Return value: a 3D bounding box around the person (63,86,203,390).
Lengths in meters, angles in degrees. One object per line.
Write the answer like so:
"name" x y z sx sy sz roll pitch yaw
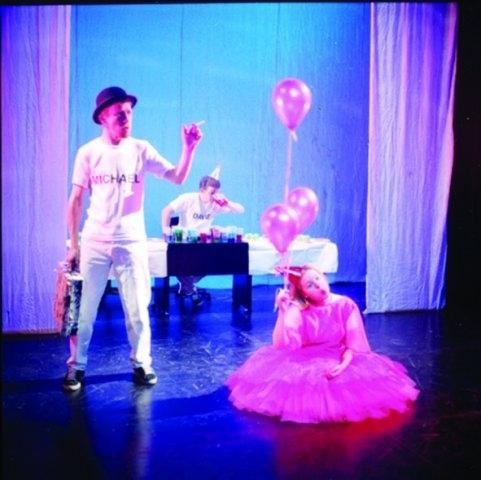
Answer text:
"person" -0.665 0.017 2.895 0.608 1.871 0.348 0 25 -20

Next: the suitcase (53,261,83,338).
"suitcase" -0.959 0.338 2.759 0.177 0.422 0.096 2 5 26

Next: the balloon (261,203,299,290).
"balloon" 0.229 0.063 2.732 0.173 0.602 0.199 0 19 14

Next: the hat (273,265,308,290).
"hat" 0.246 0.189 2.640 0.082 0.079 0.139 -5 11 -38

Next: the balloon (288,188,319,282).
"balloon" 0.342 -0.136 2.820 0.155 0.347 0.208 3 -25 14

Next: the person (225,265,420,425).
"person" 0.449 0.537 2.701 0.926 0.900 0.999 -10 -14 21

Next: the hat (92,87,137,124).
"hat" -0.701 -0.761 2.778 0.223 0.221 0.188 -1 5 -15

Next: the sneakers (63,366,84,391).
"sneakers" -0.942 0.784 2.788 0.050 0.088 0.174 1 -15 -7
